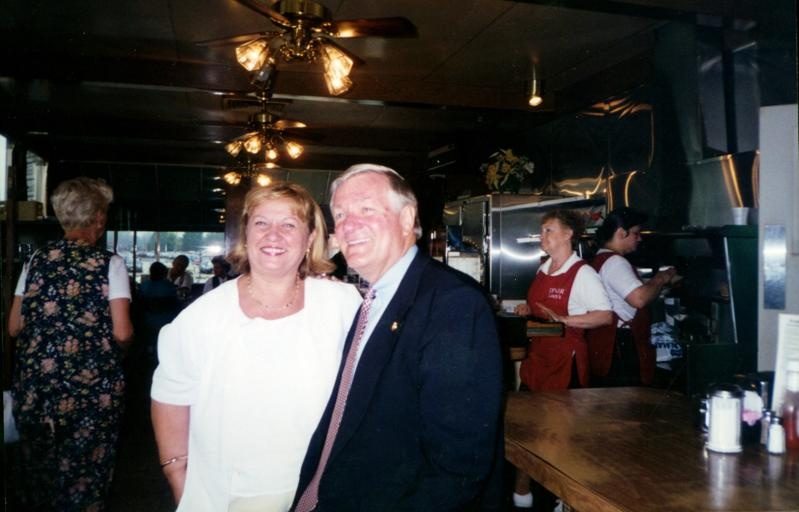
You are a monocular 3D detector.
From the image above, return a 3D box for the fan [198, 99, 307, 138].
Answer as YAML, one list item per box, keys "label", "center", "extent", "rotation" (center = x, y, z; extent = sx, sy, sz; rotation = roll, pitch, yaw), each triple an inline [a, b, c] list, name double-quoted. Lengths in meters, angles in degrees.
- label: "fan"
  center: [-1.479, -1.527, 6.670]
  extent: [0.755, 0.343, 0.751]
  rotation: [13, 14, 43]

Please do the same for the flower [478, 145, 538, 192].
- label: "flower"
  center: [1.371, -1.036, 7.841]
  extent: [0.660, 0.530, 0.625]
  rotation: [0, -4, 1]

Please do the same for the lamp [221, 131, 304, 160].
- label: "lamp"
  center: [-1.730, -1.383, 7.780]
  extent: [0.829, 0.219, 0.778]
  rotation: [3, 0, -4]

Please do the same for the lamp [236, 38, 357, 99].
- label: "lamp"
  center: [-0.835, -1.602, 5.171]
  extent: [0.989, 0.375, 0.369]
  rotation: [6, -13, 10]

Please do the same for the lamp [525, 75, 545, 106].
- label: "lamp"
  center: [1.499, -1.831, 6.907]
  extent: [0.152, 0.335, 0.289]
  rotation: [0, -2, 13]

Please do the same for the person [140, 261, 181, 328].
- label: "person"
  center: [-3.234, 0.772, 8.392]
  extent: [0.546, 1.311, 0.404]
  rotation: [5, 24, -18]

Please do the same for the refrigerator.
- label: "refrigerator"
  center: [1.548, 0.179, 5.663]
  extent: [1.359, 1.689, 1.271]
  rotation: [-19, 6, -25]
